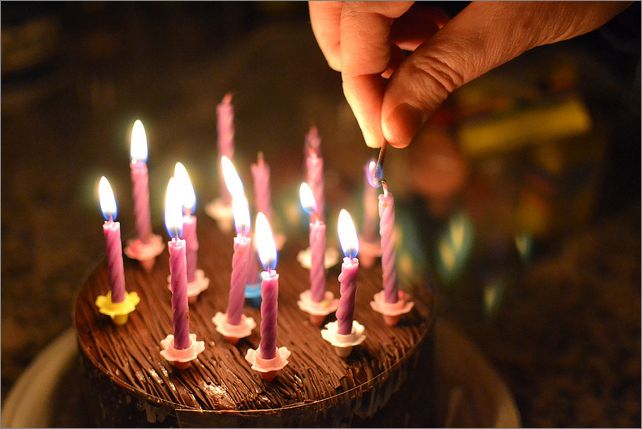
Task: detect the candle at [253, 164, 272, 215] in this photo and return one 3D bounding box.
[{"bbox_3d":[-0.425,-0.171,4.743,0.133,0.408,0.328,1,5,-5],"label":"candle"}]

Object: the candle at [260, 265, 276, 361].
[{"bbox_3d":[-0.315,0.608,4.006,0.093,0.558,0.127,1,5,-8],"label":"candle"}]

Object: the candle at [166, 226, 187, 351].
[{"bbox_3d":[-0.864,0.488,4.089,0.122,0.697,0.226,0,5,-9],"label":"candle"}]

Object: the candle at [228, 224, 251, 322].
[{"bbox_3d":[-0.522,0.414,4.192,0.130,0.610,0.323,1,5,-8],"label":"candle"}]

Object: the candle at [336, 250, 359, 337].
[{"bbox_3d":[0.158,0.508,4.145,0.118,0.499,0.205,1,5,2],"label":"candle"}]

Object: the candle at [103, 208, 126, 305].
[{"bbox_3d":[-1.339,0.296,4.339,0.123,0.572,0.210,0,5,-17],"label":"candle"}]

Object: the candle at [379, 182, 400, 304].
[{"bbox_3d":[0.437,0.196,4.307,0.140,0.788,0.316,2,5,10],"label":"candle"}]
